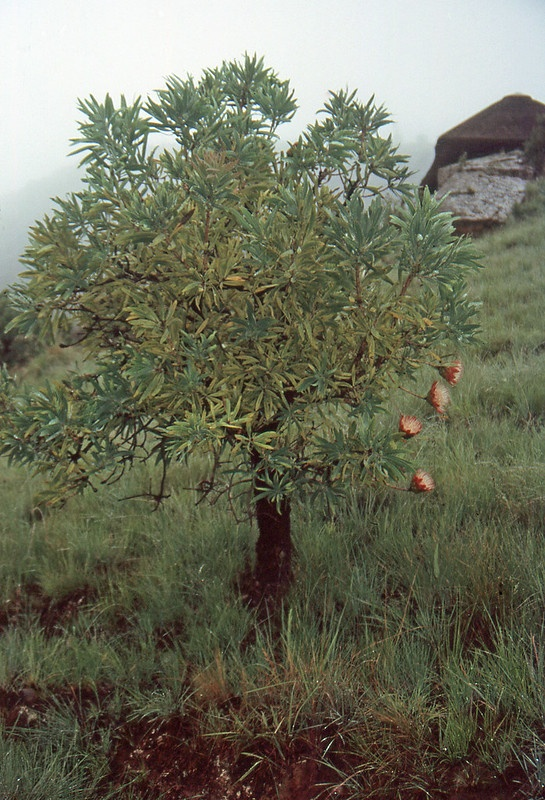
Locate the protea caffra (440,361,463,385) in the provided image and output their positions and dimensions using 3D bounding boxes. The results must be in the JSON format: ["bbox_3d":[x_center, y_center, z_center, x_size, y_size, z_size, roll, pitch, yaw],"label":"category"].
[{"bbox_3d":[0.605,-0.090,2.286,0.069,0.095,0.170,-4,11,14],"label":"protea caffra"}]
